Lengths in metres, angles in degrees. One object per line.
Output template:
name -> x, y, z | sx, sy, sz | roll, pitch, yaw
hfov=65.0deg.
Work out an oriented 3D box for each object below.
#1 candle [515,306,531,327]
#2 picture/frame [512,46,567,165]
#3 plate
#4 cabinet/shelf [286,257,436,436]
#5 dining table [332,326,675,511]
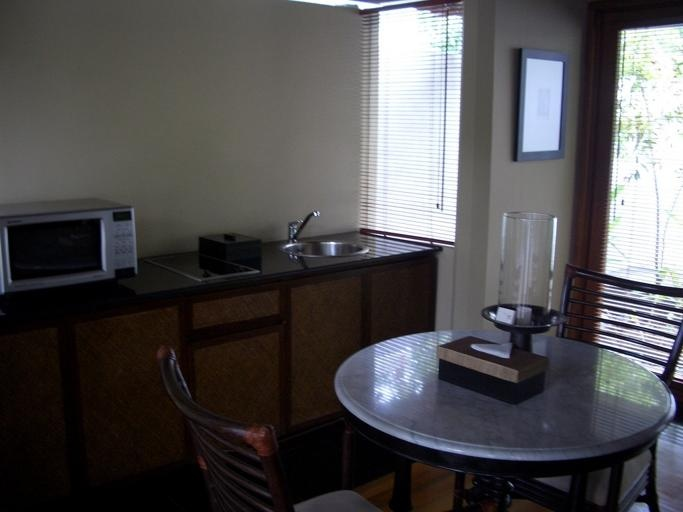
candle -> 0.683, 0.222, 2.007 | 0.060, 0.070, 0.061 | 1, 4, 22
picture/frame -> 1.230, -0.974, 3.368 | 0.054, 0.791, 0.686 | 10, 16, 44
plate -> 0.680, 0.230, 2.062 | 0.229, 0.159, 0.229 | -8, 13, -32
cabinet/shelf -> 0.038, 0.430, 2.617 | 0.906, 0.756, 0.313 | -8, 11, -39
dining table -> 0.488, 0.492, 1.767 | 0.729, 0.527, 0.735 | 10, 20, 33
